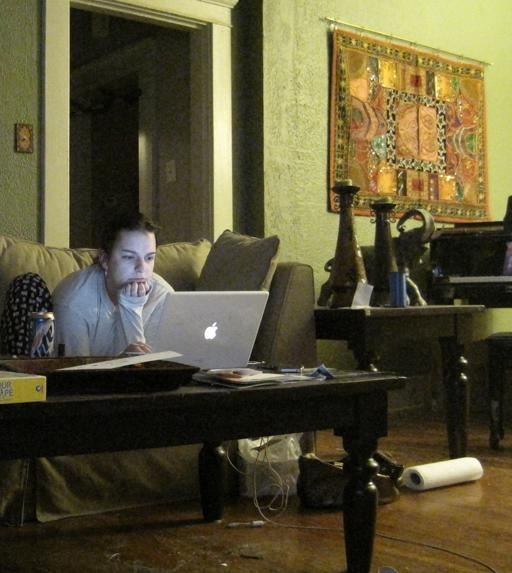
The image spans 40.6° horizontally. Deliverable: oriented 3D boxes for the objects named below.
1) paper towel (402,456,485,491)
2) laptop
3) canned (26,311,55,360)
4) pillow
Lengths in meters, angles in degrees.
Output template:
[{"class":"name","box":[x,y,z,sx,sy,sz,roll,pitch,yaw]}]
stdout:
[{"class":"paper towel","box":[0.708,0.662,2.609,0.370,0.117,0.112,-4,-2,-33]},{"class":"laptop","box":[-0.116,0.088,1.554,0.250,0.173,0.177,2,23,-36]},{"class":"canned","box":[-0.472,0.105,1.528,0.049,0.097,0.203,1,-2,-18]},{"class":"pillow","box":[-0.070,-0.079,2.522,0.074,0.243,0.241,25,0,-21]}]
